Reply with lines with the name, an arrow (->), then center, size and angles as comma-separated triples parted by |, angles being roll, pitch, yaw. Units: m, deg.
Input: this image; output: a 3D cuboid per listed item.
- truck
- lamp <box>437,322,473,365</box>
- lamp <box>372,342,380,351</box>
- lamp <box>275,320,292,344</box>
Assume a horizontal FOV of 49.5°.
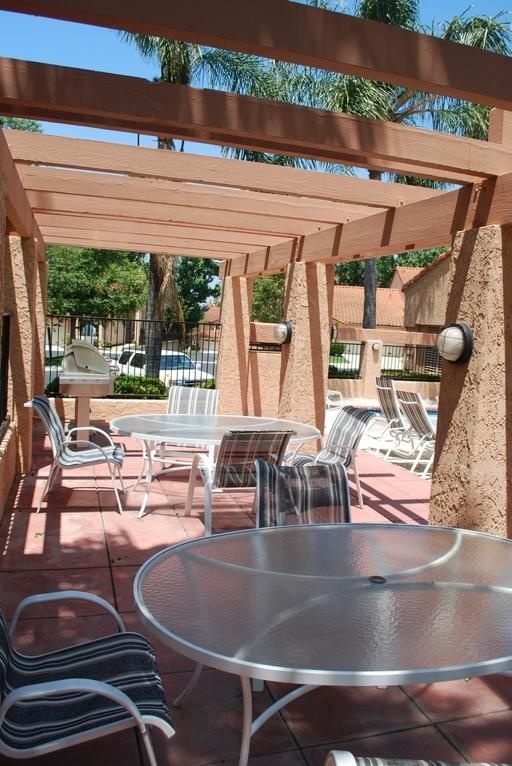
truck -> -2.462, -0.353, 14.860 | 1.622, 1.398, 3.347 | -5, 9, -35
lamp -> 1.287, -0.257, 3.651 | 0.148, 0.265, 0.299 | 0, 1, -7
lamp -> 3.858, -1.147, 17.909 | 0.238, 0.284, 0.147 | 0, 1, 12
lamp -> 0.361, -0.684, 7.516 | 0.267, 0.268, 0.254 | -4, 18, -14
